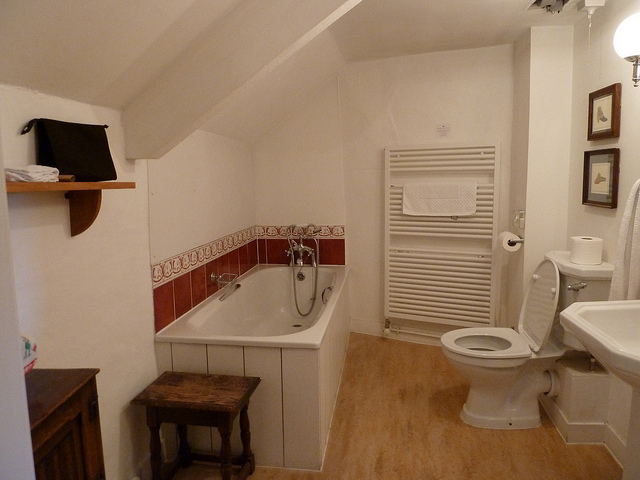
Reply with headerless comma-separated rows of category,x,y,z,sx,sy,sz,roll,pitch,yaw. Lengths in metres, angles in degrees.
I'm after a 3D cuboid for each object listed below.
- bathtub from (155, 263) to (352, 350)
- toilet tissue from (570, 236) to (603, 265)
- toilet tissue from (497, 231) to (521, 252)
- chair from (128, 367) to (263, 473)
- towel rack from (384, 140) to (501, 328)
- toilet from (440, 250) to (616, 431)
bathtub,-0.356,0.558,3.497,0.948,0.499,1.687,1,15,8
toilet tissue,1.645,0.045,2.953,0.158,0.155,0.156,8,7,30
toilet tissue,1.425,0.005,3.639,0.140,0.145,0.174,-15,2,20
chair,-0.628,0.914,2.619,0.672,0.728,0.517,-1,11,4
towel rack,1.024,0.007,3.986,0.847,1.567,0.193,4,7,8
toilet,1.250,0.654,3.043,0.870,1.060,0.620,1,7,6
